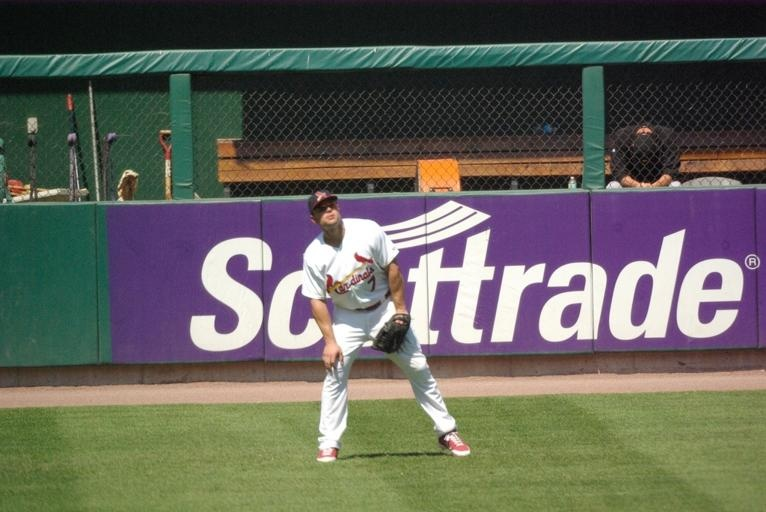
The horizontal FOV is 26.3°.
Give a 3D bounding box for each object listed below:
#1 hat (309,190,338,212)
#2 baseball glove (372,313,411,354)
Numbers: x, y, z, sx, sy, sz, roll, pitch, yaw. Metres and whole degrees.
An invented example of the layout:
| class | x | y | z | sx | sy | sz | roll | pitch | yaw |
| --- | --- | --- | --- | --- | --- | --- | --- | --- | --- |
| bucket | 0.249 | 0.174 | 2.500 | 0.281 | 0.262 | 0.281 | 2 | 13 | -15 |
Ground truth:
| class | x | y | z | sx | sy | sz | roll | pitch | yaw |
| --- | --- | --- | --- | --- | --- | --- | --- | --- | --- |
| hat | -0.725 | -0.616 | 19.697 | 0.212 | 0.155 | 0.338 | -26 | -4 | -20 |
| baseball glove | 0.123 | 0.955 | 19.692 | 0.374 | 0.492 | 0.170 | 38 | 1 | -27 |
